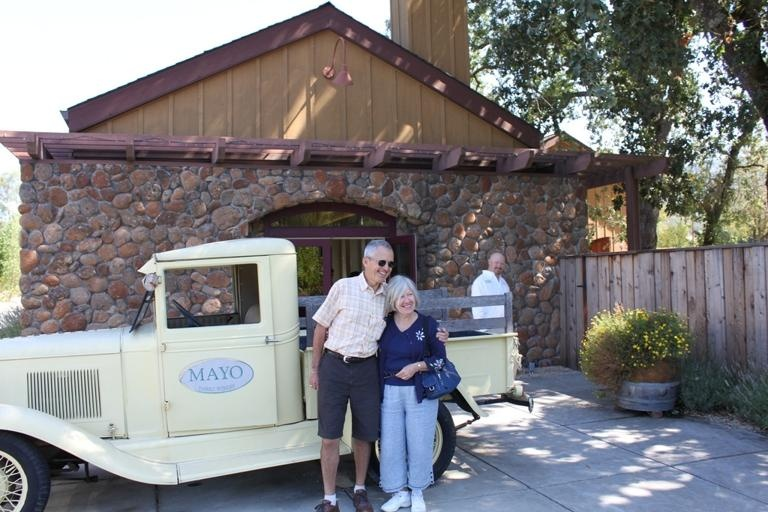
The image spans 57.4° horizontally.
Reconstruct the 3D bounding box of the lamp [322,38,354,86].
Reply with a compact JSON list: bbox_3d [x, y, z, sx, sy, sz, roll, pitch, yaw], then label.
[{"bbox_3d":[-0.835,-3.532,12.662,0.557,0.819,0.488,8,14,35],"label":"lamp"}]

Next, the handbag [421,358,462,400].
[{"bbox_3d":[0.640,1.555,8.670,0.664,0.539,0.417,-7,-15,-5],"label":"handbag"}]

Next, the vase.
[{"bbox_3d":[4.074,1.988,10.734,0.756,0.688,0.856,2,-6,-3],"label":"vase"}]

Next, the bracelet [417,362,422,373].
[{"bbox_3d":[0.418,1.342,8.514,0.072,0.077,0.019,24,-4,-31],"label":"bracelet"}]

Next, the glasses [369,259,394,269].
[{"bbox_3d":[-0.029,0.083,8.552,0.282,0.131,0.102,1,-4,-29],"label":"glasses"}]
